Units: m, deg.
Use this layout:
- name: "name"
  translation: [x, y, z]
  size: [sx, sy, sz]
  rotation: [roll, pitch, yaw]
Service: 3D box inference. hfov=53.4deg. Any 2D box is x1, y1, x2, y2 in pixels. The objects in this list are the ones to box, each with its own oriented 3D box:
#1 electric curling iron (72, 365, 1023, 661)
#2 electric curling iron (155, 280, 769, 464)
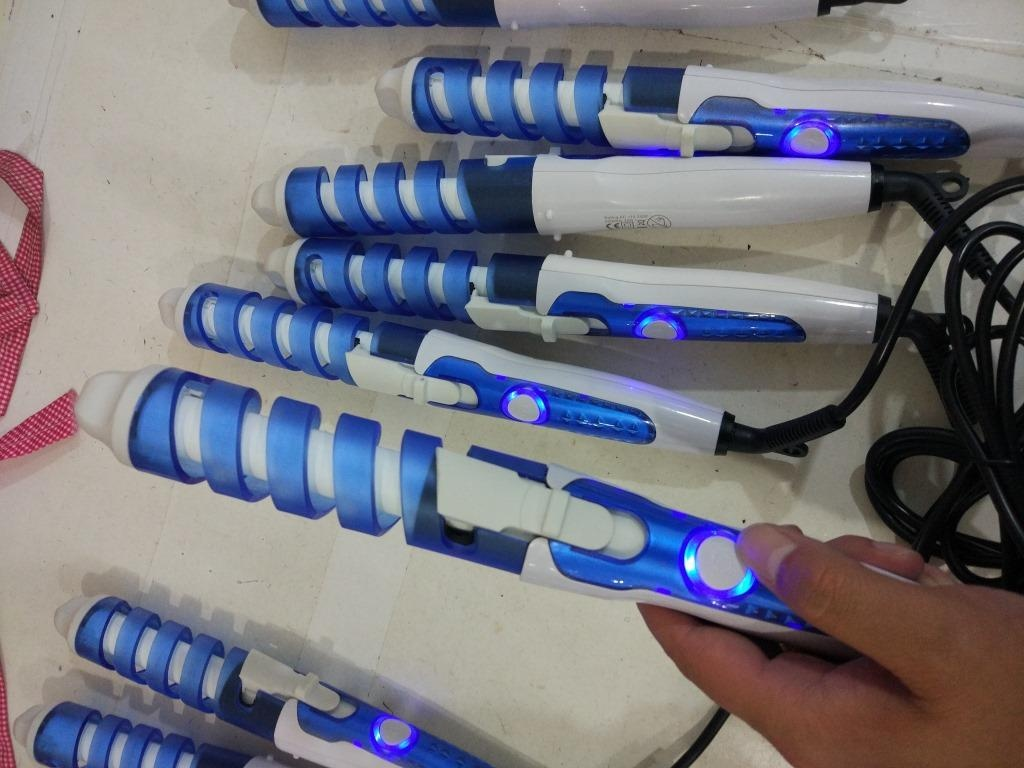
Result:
- name: "electric curling iron"
  translation: [0.082, 0.163, 1.303]
  size: [0.741, 0.131, 0.125]
  rotation: [23, 101, 10]
- name: "electric curling iron"
  translation: [-0.041, -0.013, 1.359]
  size: [0.565, 0.137, 0.092]
  rotation: [11, 31, 11]
